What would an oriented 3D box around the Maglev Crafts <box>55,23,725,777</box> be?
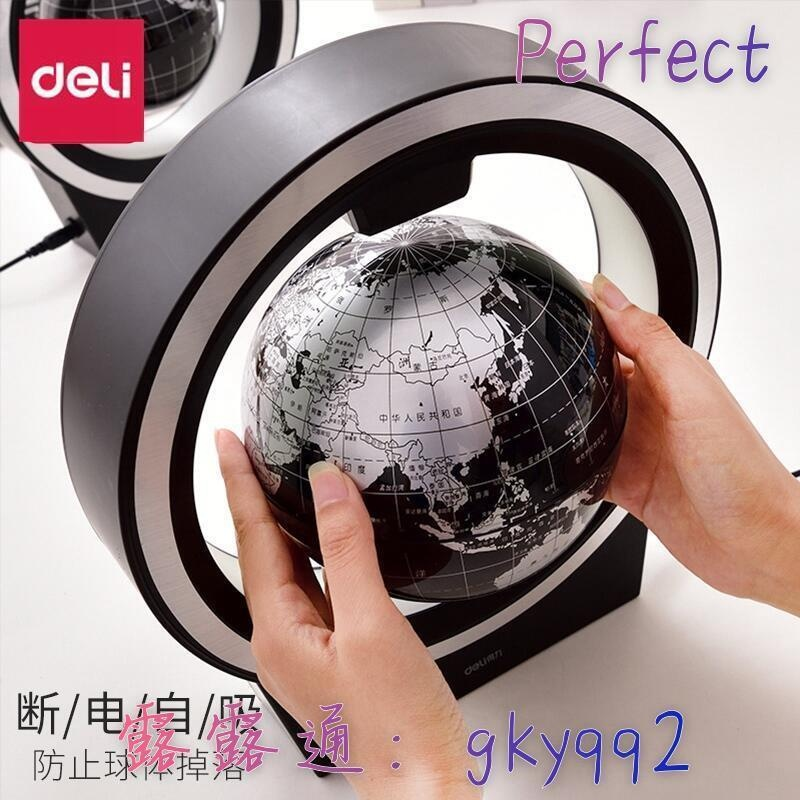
[{"bbox_3d":[0.040,0.053,0.888,0.676,0.878,0.149,-22,39,-14],"label":"Maglev Crafts"}]
